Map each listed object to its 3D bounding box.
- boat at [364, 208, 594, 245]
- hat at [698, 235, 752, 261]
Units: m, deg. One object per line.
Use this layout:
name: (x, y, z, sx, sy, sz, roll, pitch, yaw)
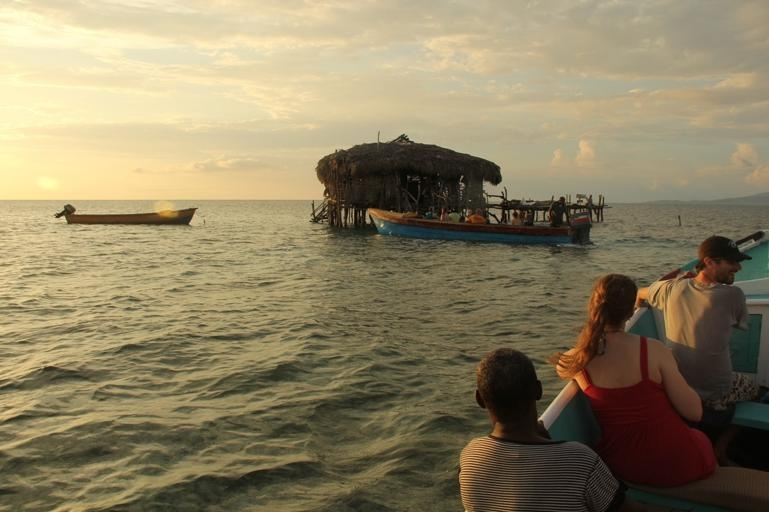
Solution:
boat: (3.669, -1.161, 27.495, 10.936, 1.233, 3.223, 2, 2, 24)
hat: (3.076, -0.068, 5.367, 0.435, 0.191, 0.254, -3, 6, 17)
